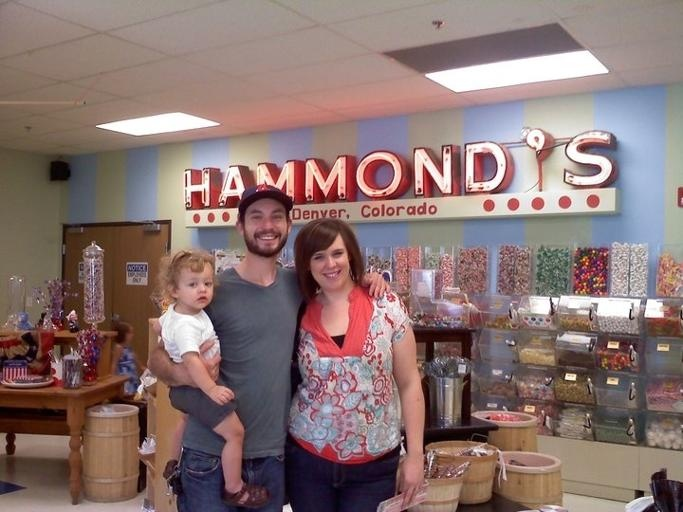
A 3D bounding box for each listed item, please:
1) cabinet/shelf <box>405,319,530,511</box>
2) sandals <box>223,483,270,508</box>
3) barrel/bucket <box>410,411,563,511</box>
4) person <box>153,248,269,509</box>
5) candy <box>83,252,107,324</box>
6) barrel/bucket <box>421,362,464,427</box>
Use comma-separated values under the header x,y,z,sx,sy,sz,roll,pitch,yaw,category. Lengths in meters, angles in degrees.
x,y,z,sx,sy,sz,roll,pitch,yaw,category
0.773,0.960,3.423,0.782,0.899,0.759,-3,2,-11,cabinet/shelf
-0.382,0.992,2.292,0.158,0.092,0.071,0,-43,-12,sandals
0.901,1.265,3.358,0.785,0.572,0.542,3,-3,-23,barrel/bucket
-0.600,0.522,2.440,0.291,0.762,0.561,-2,1,-37,person
-2.382,0.274,5.298,0.169,0.638,0.286,-2,1,-26,candy
0.653,0.888,3.593,0.367,0.429,0.306,-3,-9,16,barrel/bucket
